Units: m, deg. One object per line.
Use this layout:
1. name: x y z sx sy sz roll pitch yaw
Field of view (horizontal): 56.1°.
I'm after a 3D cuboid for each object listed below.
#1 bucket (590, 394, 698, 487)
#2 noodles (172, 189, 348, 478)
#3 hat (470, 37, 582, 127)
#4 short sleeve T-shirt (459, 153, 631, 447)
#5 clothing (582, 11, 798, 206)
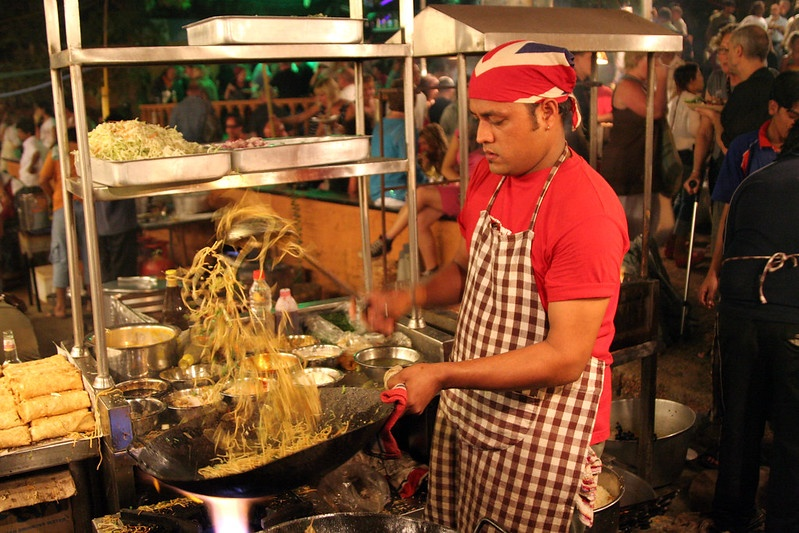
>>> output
1. bucket: 1.678 1.183 5.212 0.624 0.401 0.622 -3 13 1
2. noodles: -0.721 0.328 3.613 0.756 0.316 1.341 -3 41 0
3. hat: 0.509 -0.764 3.013 0.364 0.282 0.279 1 13 3
4. short sleeve T-shirt: 0.632 0.166 3.276 0.700 1.320 0.498 0 10 18
5. clothing: 2.418 -1.063 6.021 1.542 0.997 0.973 -3 11 -14
